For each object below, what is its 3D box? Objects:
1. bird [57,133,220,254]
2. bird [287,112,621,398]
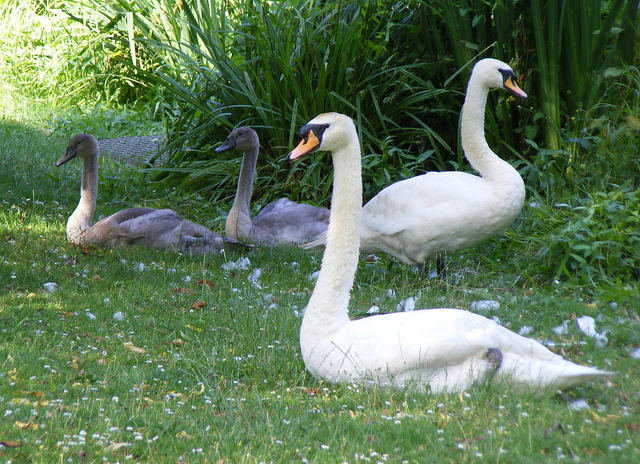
[{"bbox_3d":[-2.285,-0.354,7.668,2.037,0.992,1.140,14,31,29],"label":"bird"},{"bbox_3d":[0.660,0.195,4.662,2.050,1.647,1.043,9,28,21],"label":"bird"}]
